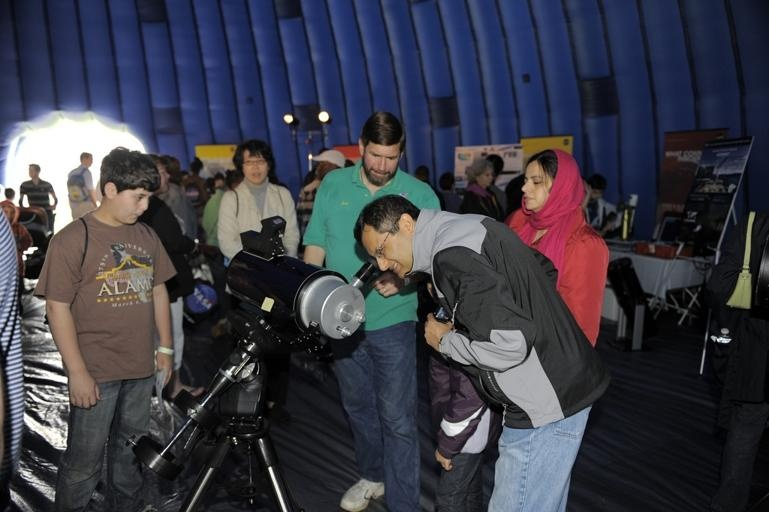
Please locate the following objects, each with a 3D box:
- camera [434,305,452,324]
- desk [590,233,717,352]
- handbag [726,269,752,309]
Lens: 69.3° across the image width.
[{"bbox_3d":[0.329,0.328,3.171,0.095,0.072,0.035,22,36,39],"label":"camera"},{"bbox_3d":[3.456,0.287,7.410,1.515,1.217,1.299,-2,12,-22],"label":"desk"},{"bbox_3d":[2.509,0.237,3.884,0.135,0.245,0.071,4,0,18],"label":"handbag"}]
